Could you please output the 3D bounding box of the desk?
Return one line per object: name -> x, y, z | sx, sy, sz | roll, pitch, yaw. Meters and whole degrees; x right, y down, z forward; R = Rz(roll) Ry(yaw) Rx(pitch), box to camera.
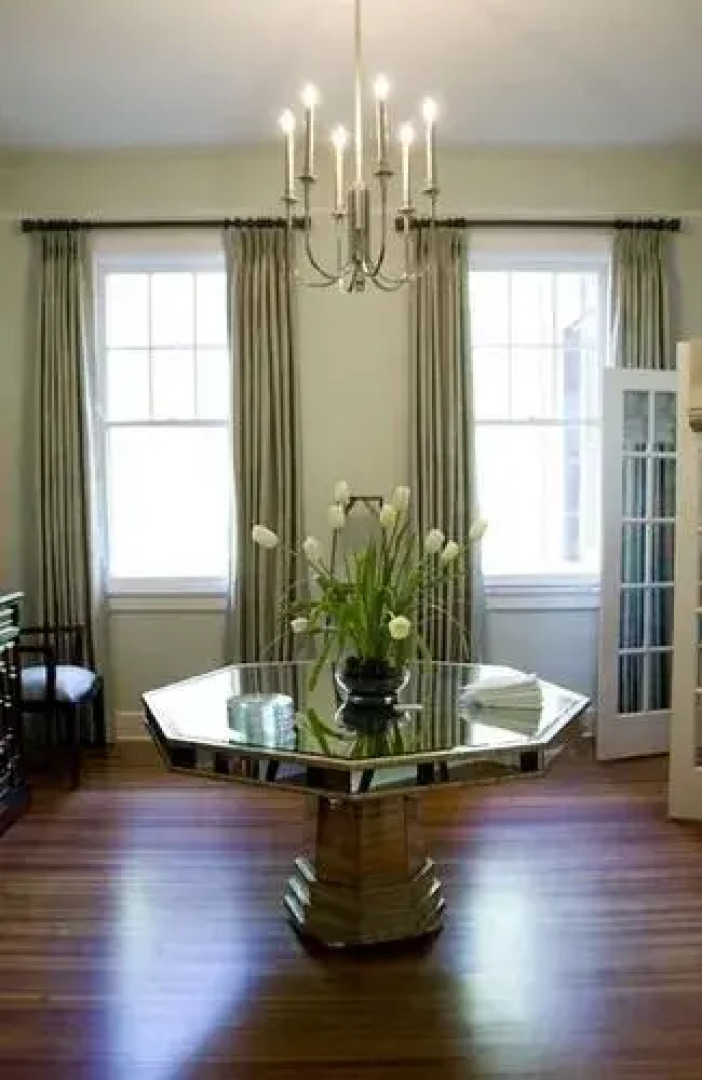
desk -> 0.013, 0.760, 2.482 | 1.155, 0.628, 1.069 | 0, 1, 28
